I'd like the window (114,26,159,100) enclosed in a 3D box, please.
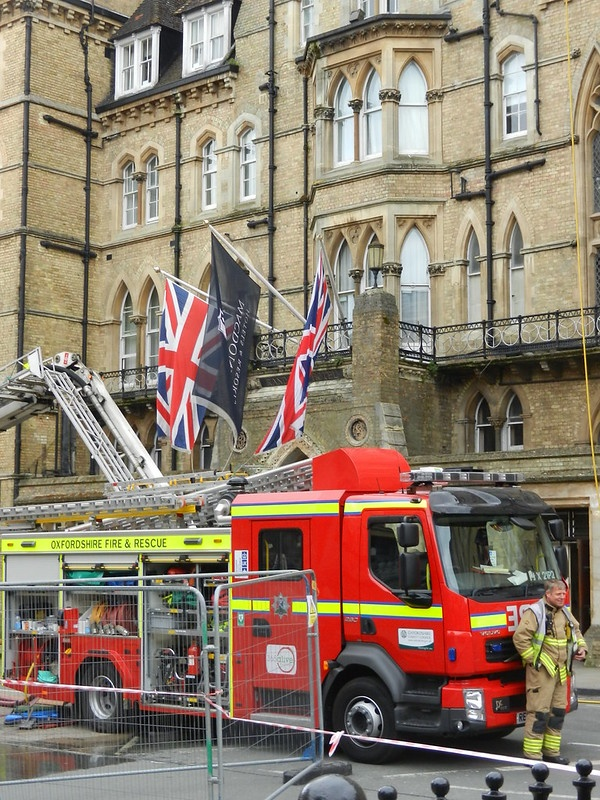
[{"bbox_3d":[-3.976,-8.375,38.384,1.961,1.962,0.321,-7,-7,40],"label":"window"}]

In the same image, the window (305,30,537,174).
[{"bbox_3d":[1.971,-5.699,29.980,4.613,3.416,0.913,-4,-7,32],"label":"window"}]

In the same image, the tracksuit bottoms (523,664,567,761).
[{"bbox_3d":[2.109,2.657,13.278,0.501,0.777,0.270,3,-7,-32],"label":"tracksuit bottoms"}]

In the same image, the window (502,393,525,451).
[{"bbox_3d":[3.945,0.352,28.287,0.515,1.133,0.125,-2,8,-7],"label":"window"}]

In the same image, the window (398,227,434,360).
[{"bbox_3d":[2.229,-2.262,29.706,0.810,2.770,0.234,2,-23,-3],"label":"window"}]

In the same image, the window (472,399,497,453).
[{"bbox_3d":[3.457,0.447,28.594,0.429,1.034,0.094,-6,-9,40],"label":"window"}]

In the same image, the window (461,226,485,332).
[{"bbox_3d":[3.284,-2.375,29.280,0.308,1.729,0.286,-3,-6,20],"label":"window"}]

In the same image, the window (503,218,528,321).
[{"bbox_3d":[3.973,-2.470,28.570,0.303,1.787,0.333,-2,-6,16],"label":"window"}]

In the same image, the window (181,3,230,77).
[{"bbox_3d":[-2.158,-8.511,36.538,0.323,1.787,1.885,21,-25,-40],"label":"window"}]

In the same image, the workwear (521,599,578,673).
[{"bbox_3d":[2.137,2.021,13.316,0.570,0.652,0.347,9,-14,-42],"label":"workwear"}]
